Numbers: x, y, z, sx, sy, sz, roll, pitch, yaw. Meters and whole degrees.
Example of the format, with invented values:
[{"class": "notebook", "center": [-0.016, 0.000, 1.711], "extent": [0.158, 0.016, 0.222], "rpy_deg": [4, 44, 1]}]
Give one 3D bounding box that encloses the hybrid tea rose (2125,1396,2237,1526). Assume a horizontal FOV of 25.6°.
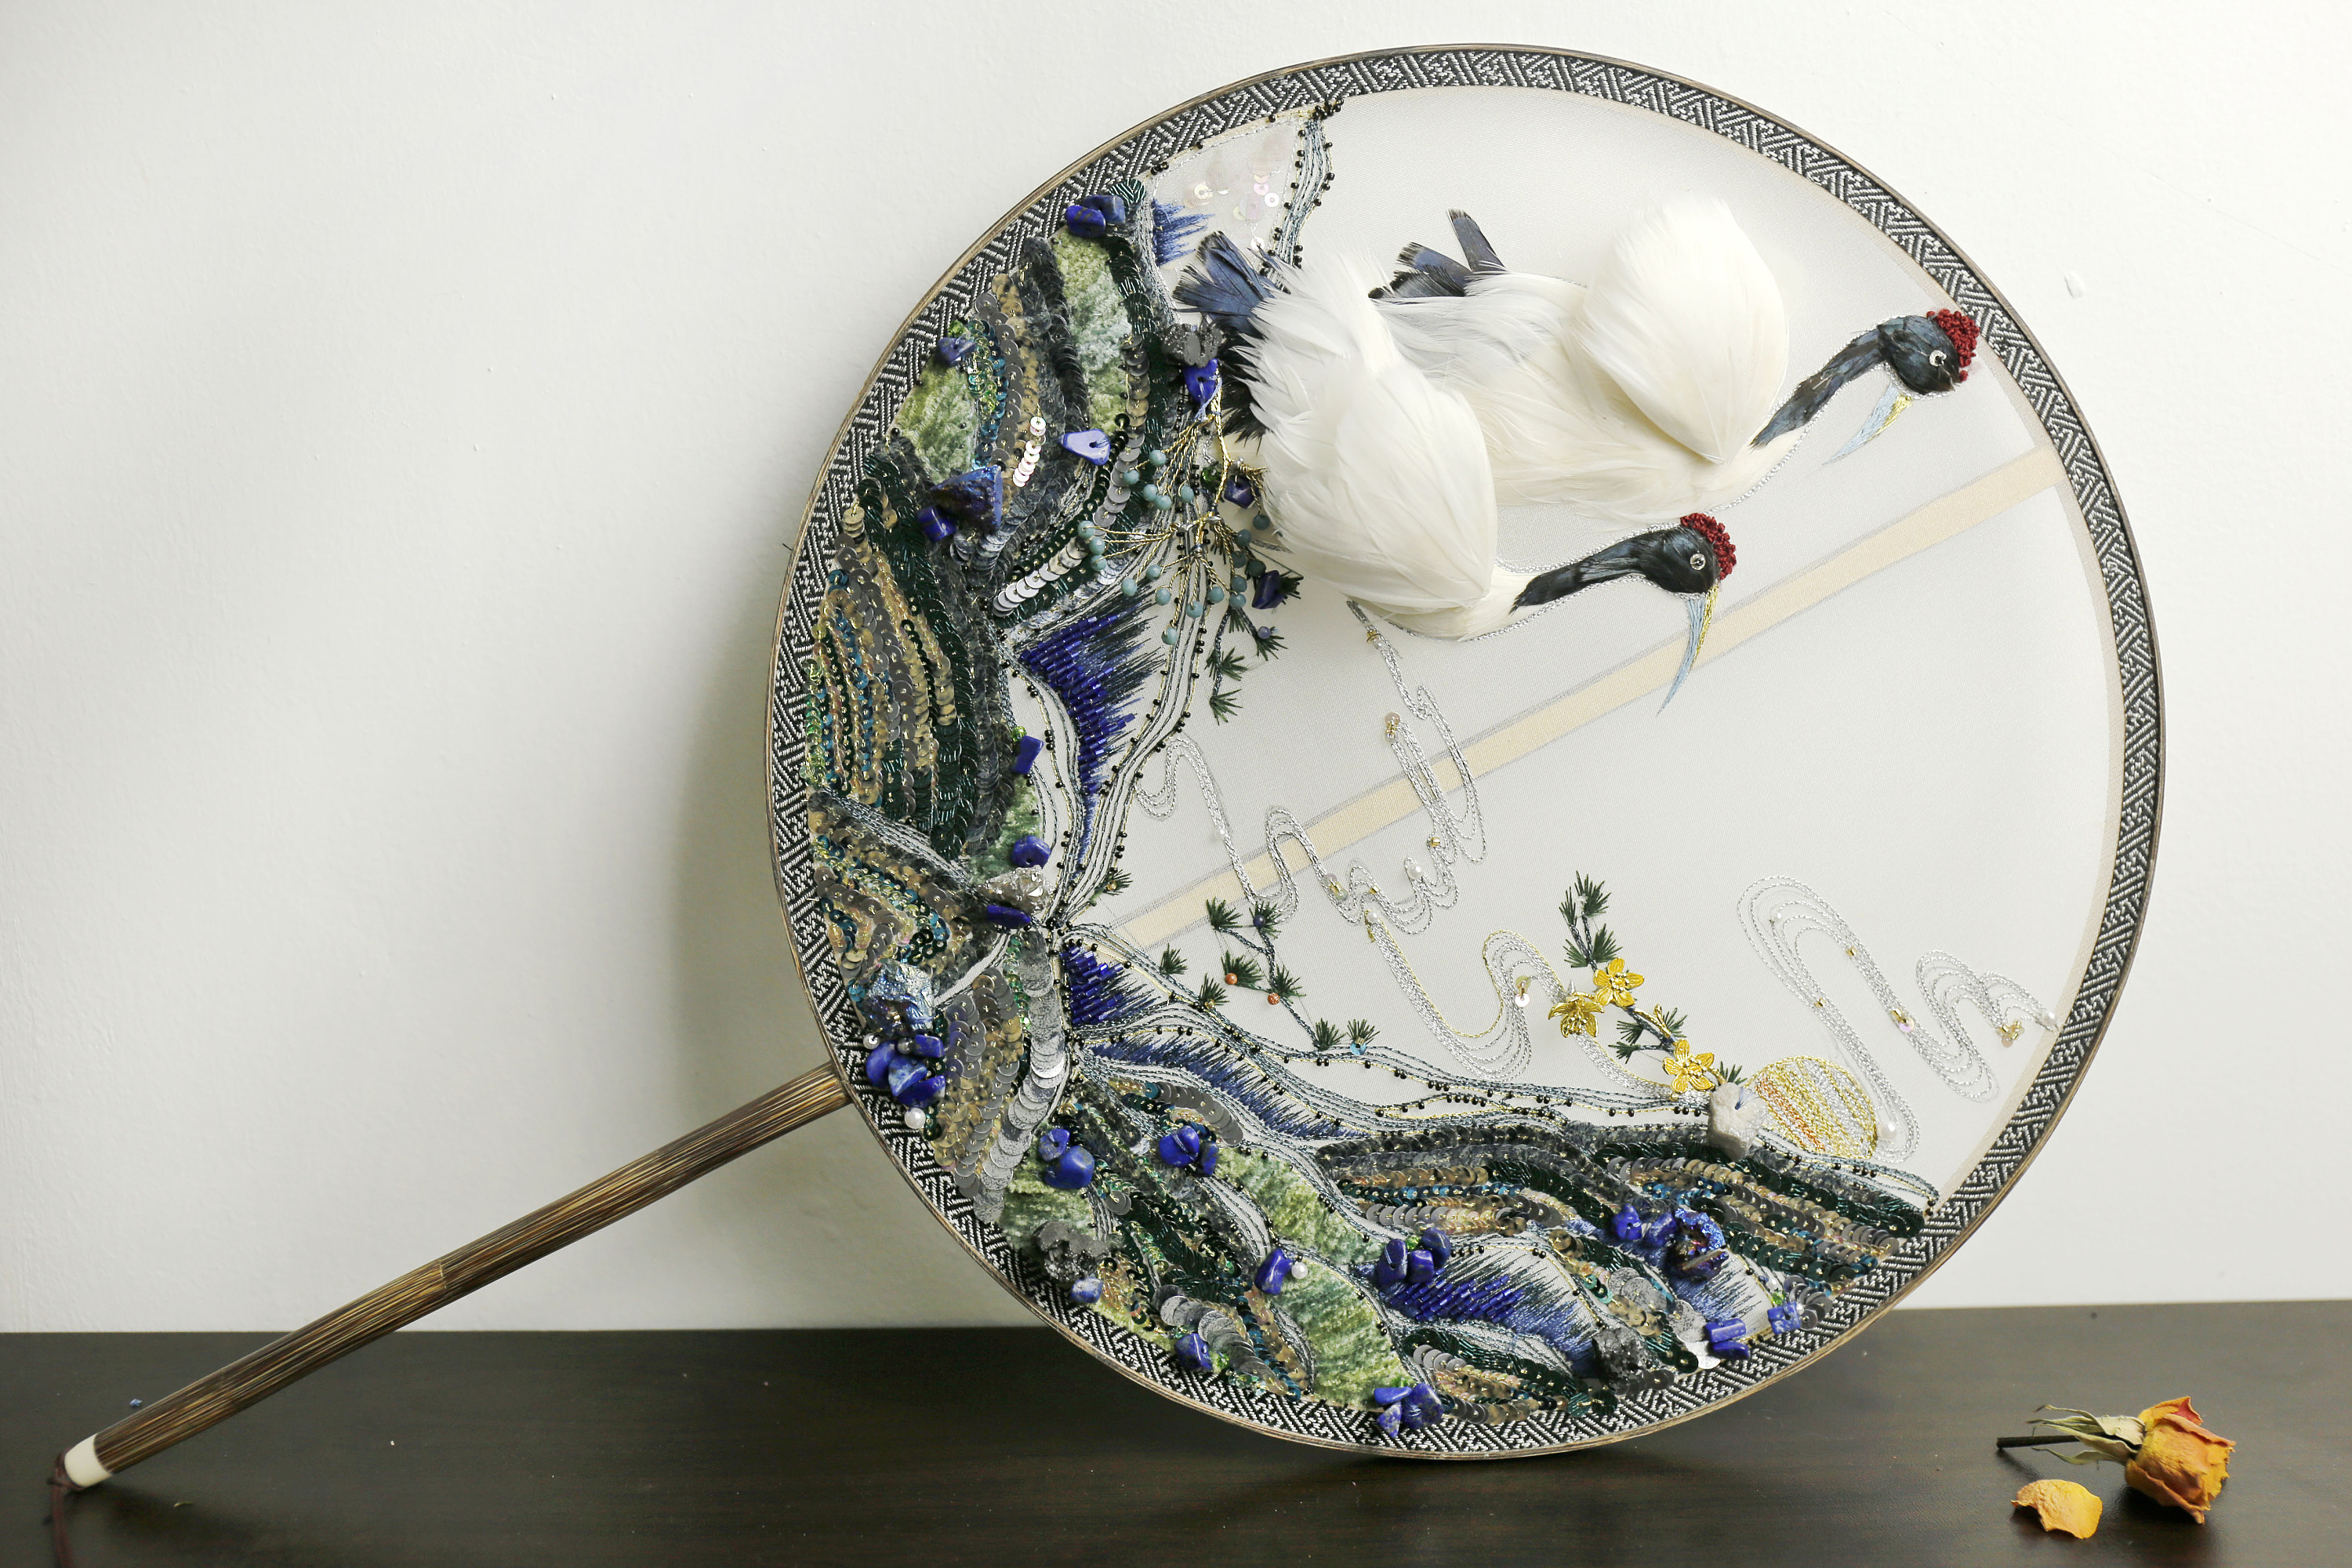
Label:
[{"class": "hybrid tea rose", "center": [1.091, 0.734, 5.648], "extent": [0.106, 0.122, 0.057], "rpy_deg": [2, 5, 11]}]
